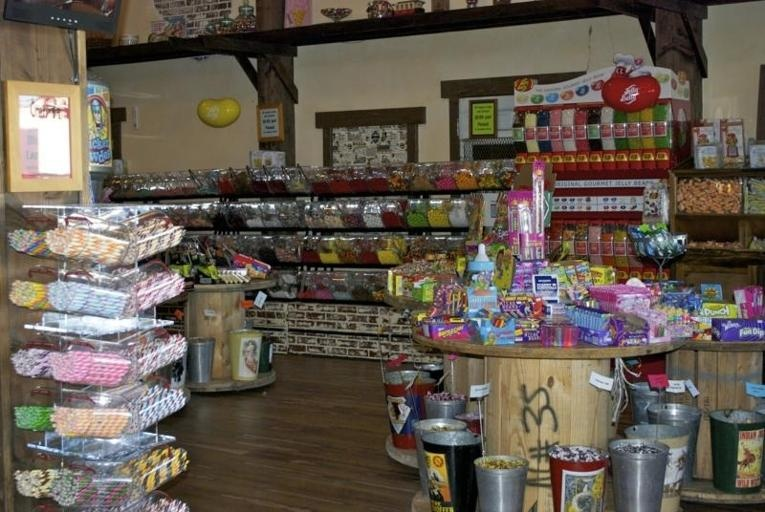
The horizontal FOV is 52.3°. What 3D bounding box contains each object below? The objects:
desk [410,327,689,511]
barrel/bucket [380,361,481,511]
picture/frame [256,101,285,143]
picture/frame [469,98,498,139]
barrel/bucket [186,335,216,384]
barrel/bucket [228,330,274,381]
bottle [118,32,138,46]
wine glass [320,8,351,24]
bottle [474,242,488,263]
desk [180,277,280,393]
[{"bbox_3d":[0.883,0.852,4.827,1.210,0.788,1.196,-2,4,-17],"label":"desk"},{"bbox_3d":[0.203,1.239,5.412,0.809,1.106,0.769,-3,5,0],"label":"barrel/bucket"},{"bbox_3d":[-1.413,-1.682,9.743,0.523,0.673,0.077,0,4,8],"label":"picture/frame"},{"bbox_3d":[1.163,-1.586,8.998,0.458,0.611,0.080,2,6,15],"label":"picture/frame"},{"bbox_3d":[-1.751,0.974,7.382,0.371,0.431,0.373,3,-1,0],"label":"barrel/bucket"},{"bbox_3d":[-1.326,0.943,7.468,0.406,0.451,0.420,-1,-1,0],"label":"barrel/bucket"},{"bbox_3d":[-3.439,-2.866,10.392,0.262,0.194,0.263,1,7,0],"label":"bottle"},{"bbox_3d":[-0.570,-2.783,8.965,0.313,0.121,0.315,1,18,2],"label":"wine glass"},{"bbox_3d":[0.650,-0.018,5.155,0.107,0.118,0.106,0,3,-12],"label":"bottle"},{"bbox_3d":[-1.641,0.824,7.897,1.222,0.983,1.286,-5,-6,4],"label":"desk"}]
